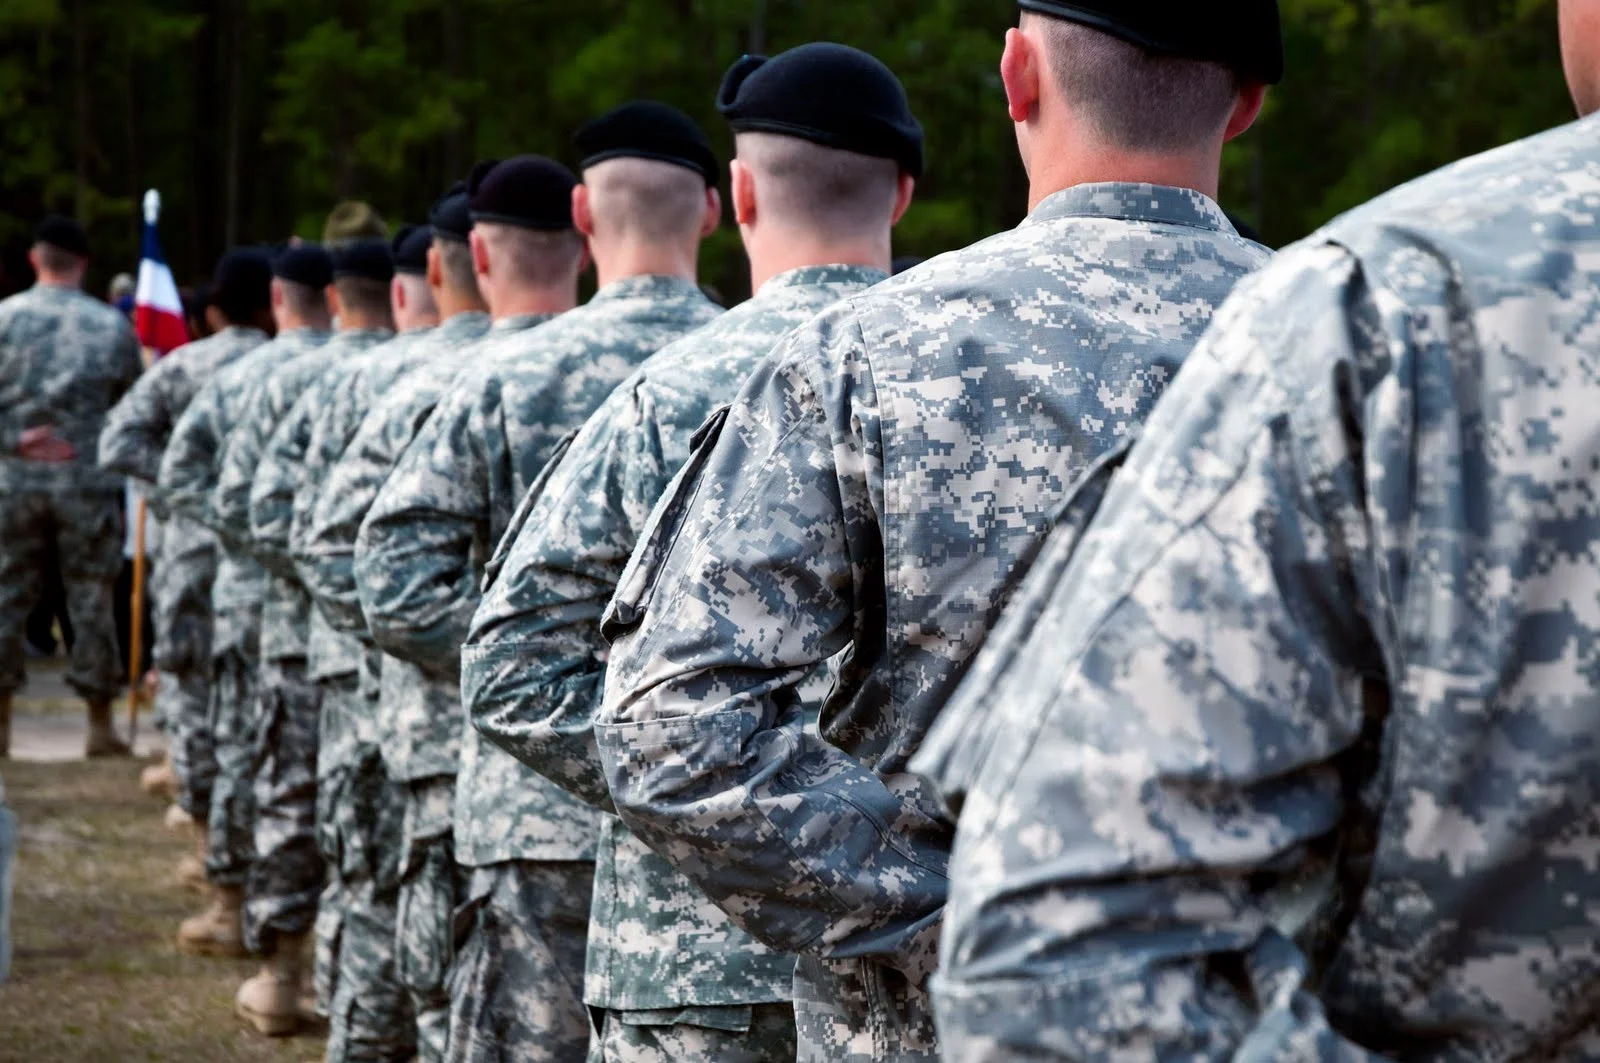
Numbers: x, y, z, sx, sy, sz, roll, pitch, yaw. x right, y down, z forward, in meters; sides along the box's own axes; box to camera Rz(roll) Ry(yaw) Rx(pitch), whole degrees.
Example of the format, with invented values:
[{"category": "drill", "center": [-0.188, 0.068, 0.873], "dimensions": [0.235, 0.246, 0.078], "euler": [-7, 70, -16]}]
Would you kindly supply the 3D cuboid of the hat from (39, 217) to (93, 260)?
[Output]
[{"category": "hat", "center": [-5.998, -2.399, 30.839], "dimensions": [0.225, 0.307, 0.493], "euler": [12, 12, 42]}]
